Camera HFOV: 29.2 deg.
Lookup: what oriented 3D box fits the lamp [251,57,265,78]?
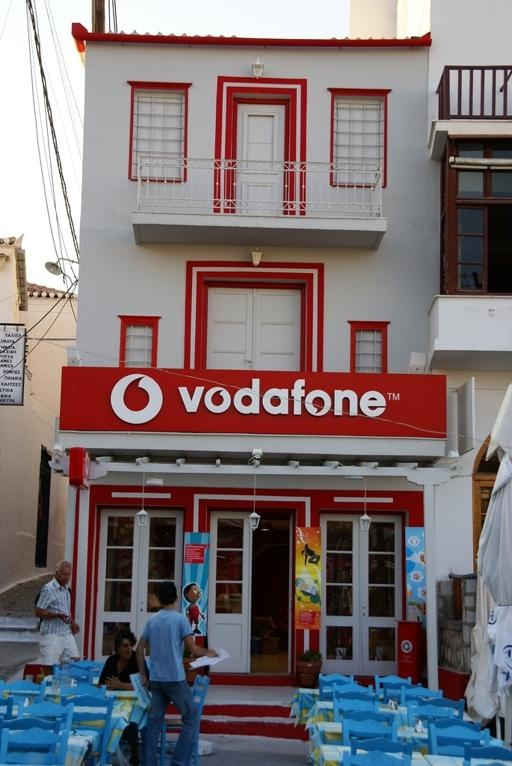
[{"bbox_3d":[0.023,-5.055,15.697,0.223,0.453,0.269,0,8,5],"label":"lamp"}]

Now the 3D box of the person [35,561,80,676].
[{"bbox_3d":[-2.219,2.533,10.896,0.440,1.118,0.702,0,-12,6],"label":"person"}]

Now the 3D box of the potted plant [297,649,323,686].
[{"bbox_3d":[0.726,3.945,13.606,0.312,0.479,0.317,0,-12,6],"label":"potted plant"}]

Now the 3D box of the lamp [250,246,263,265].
[{"bbox_3d":[0.001,-1.991,15.255,0.203,0.429,0.222,0,-8,-1],"label":"lamp"}]
